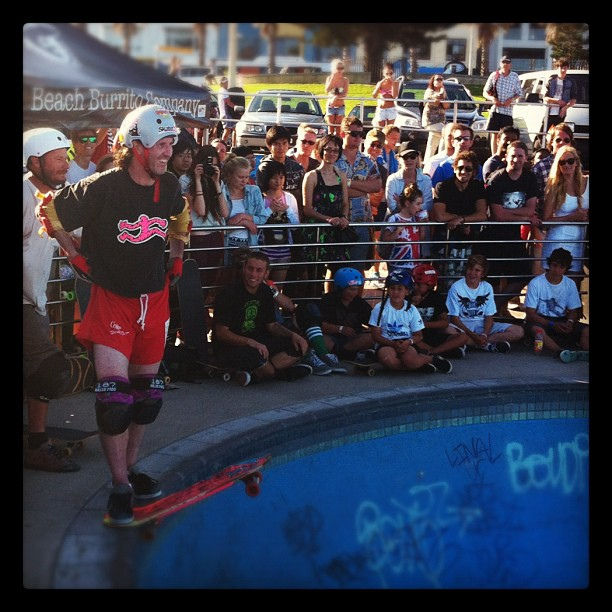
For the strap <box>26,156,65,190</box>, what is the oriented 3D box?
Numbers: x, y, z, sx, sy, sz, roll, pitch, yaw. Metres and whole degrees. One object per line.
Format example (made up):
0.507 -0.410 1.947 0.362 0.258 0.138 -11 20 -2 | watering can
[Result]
-1.652 -0.855 4.691 0.164 0.237 0.059 -17 18 32 | strap

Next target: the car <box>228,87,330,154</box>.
-0.461 -2.563 10.132 1.021 0.849 1.843 1 13 3 | car

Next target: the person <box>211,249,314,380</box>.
-0.283 0.025 6.386 0.983 1.213 0.886 8 10 31 | person

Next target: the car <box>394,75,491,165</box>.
2.086 -2.751 10.762 1.225 1.257 2.271 0 13 -7 | car

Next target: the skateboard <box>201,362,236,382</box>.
-0.701 0.525 5.926 0.291 0.132 0.083 5 12 26 | skateboard

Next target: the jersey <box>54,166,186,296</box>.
-1.063 -0.473 4.371 0.870 0.689 0.445 -7 29 -42 | jersey

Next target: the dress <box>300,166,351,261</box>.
0.235 -0.871 7.315 0.338 1.103 0.486 -9 -11 -3 | dress

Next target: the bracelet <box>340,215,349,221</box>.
0.372 -0.876 7.243 0.075 0.070 0.050 17 21 10 | bracelet

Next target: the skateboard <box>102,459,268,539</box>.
-0.664 1.100 4.250 1.068 0.166 0.301 -20 21 -32 | skateboard

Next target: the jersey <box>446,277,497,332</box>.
1.608 -0.021 7.001 0.460 0.461 0.242 -1 23 31 | jersey

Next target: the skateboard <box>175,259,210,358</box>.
-0.930 0.019 6.019 0.242 0.793 0.281 -3 10 -10 | skateboard

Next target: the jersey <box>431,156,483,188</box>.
1.524 -1.377 7.589 0.397 0.330 0.137 4 10 -9 | jersey

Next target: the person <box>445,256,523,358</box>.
1.658 -0.020 6.936 0.770 0.895 0.356 -4 11 -16 | person

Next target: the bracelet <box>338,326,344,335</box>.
0.297 0.219 6.576 0.037 0.067 0.065 8 -32 5 | bracelet

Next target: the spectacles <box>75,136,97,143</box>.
-1.857 -1.426 6.310 0.104 0.059 0.238 3 12 19 | spectacles

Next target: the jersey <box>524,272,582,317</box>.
2.437 -0.095 7.250 0.532 0.436 0.264 5 13 35 | jersey

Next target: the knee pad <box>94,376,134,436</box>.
-1.091 0.557 4.169 0.217 0.283 0.184 -5 -15 24 | knee pad

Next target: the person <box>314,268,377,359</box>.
0.352 0.052 6.579 0.517 0.766 0.541 0 11 1 | person

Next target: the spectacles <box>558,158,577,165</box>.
2.644 -1.473 7.521 0.137 0.065 0.030 0 10 3 | spectacles

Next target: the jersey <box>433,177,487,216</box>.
1.532 -1.093 7.523 0.600 0.582 0.341 2 2 11 | jersey

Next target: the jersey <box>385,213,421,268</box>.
1.012 -0.678 7.490 0.470 0.587 0.301 -10 18 -13 | jersey

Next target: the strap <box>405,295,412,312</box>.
0.924 -0.030 6.571 0.044 0.124 0.090 3 8 -11 | strap

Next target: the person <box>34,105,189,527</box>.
-0.991 0.005 4.235 0.803 2.247 0.761 -6 12 -29 | person

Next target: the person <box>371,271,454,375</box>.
0.775 0.139 6.649 0.755 1.058 0.846 -1 4 -13 | person

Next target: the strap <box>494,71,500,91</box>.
2.289 -2.739 8.935 0.053 0.178 0.031 6 21 6 | strap

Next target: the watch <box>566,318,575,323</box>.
2.543 0.148 7.153 0.066 0.039 0.118 7 14 35 | watch

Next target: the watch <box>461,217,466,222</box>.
1.563 -0.871 7.410 0.044 0.035 0.046 3 15 6 | watch

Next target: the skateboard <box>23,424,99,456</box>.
-1.613 0.843 4.813 0.615 0.126 0.175 8 11 25 | skateboard

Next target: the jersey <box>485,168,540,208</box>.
2.083 -1.187 7.633 0.664 0.537 0.345 -2 8 -6 | jersey

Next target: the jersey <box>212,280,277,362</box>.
-0.509 0.140 6.000 0.595 0.684 0.341 2 5 -39 | jersey

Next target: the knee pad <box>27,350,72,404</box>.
-1.601 0.449 4.624 0.153 0.291 0.259 3 11 17 | knee pad

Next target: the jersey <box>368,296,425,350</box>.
0.830 0.135 6.543 0.514 0.439 0.271 2 5 32 | jersey

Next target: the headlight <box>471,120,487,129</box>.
2.628 -2.794 11.331 0.206 0.141 0.411 2 12 11 | headlight

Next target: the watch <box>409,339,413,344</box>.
0.909 0.311 6.437 0.015 0.060 0.100 3 12 20 | watch

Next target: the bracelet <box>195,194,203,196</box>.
-0.942 -0.975 6.464 0.065 0.013 0.009 -10 14 -39 | bracelet

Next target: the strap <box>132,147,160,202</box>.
-0.889 -0.747 4.211 0.062 0.238 0.179 -9 27 -18 | strap

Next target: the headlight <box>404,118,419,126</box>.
1.600 -2.834 11.347 0.240 0.111 0.136 -4 11 -16 | headlight

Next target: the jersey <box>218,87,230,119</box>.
-1.079 -2.658 9.607 0.124 0.148 0.439 -17 -13 -9 | jersey

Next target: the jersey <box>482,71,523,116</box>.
2.407 -2.611 9.113 0.473 0.557 0.211 4 -16 6 | jersey

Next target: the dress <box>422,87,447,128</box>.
1.656 -2.585 9.830 0.263 0.469 0.307 -4 6 36 | dress

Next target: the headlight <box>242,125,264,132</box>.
-0.783 -2.581 10.715 0.312 0.089 0.070 1 11 5 | headlight
